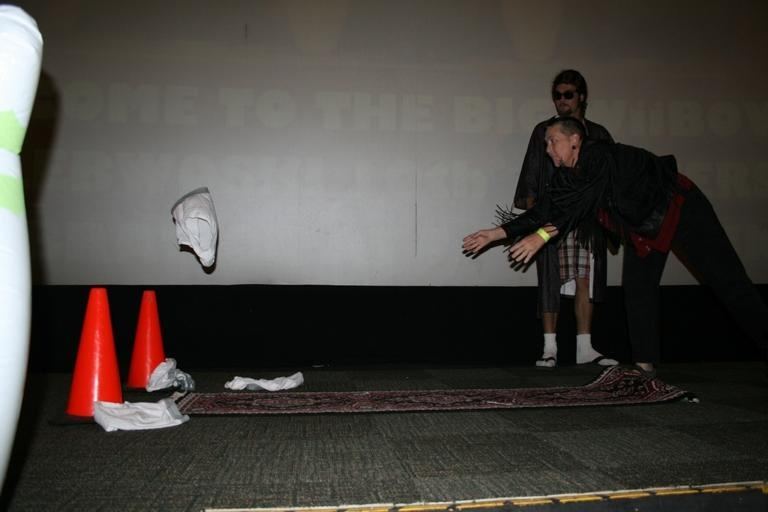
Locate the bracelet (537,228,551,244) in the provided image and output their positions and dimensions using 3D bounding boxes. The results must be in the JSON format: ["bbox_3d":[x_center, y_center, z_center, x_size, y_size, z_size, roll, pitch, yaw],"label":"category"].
[{"bbox_3d":[1.003,-0.130,3.645,0.057,0.089,0.091,-24,-27,28],"label":"bracelet"}]

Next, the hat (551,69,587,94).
[{"bbox_3d":[1.524,-1.427,4.858,0.254,0.218,0.193,11,8,3],"label":"hat"}]

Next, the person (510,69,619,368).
[{"bbox_3d":[1.517,-0.299,4.674,0.992,2.341,0.747,2,-7,10],"label":"person"}]

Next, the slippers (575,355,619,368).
[{"bbox_3d":[1.690,0.831,4.589,0.232,0.080,0.142,-1,2,8],"label":"slippers"}]
